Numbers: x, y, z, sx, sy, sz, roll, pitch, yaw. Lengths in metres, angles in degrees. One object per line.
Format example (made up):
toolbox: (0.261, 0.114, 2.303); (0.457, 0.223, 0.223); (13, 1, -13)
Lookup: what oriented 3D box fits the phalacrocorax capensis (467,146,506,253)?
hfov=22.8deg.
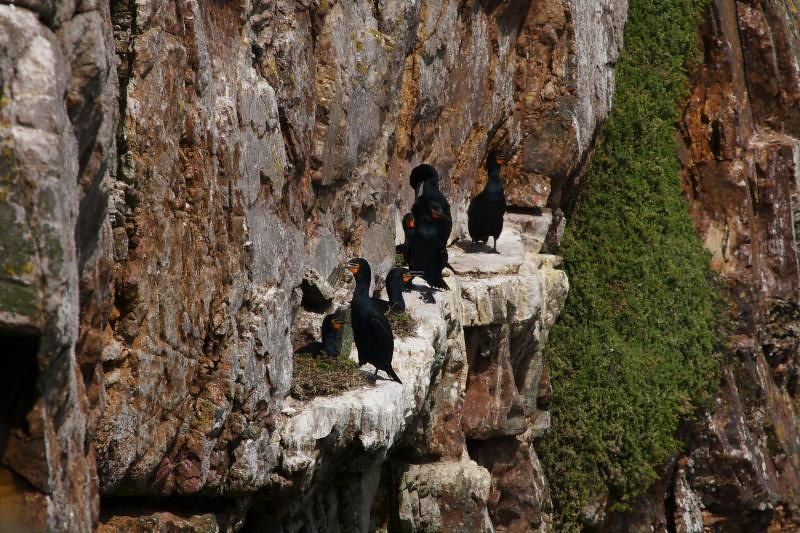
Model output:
phalacrocorax capensis: (1.563, -1.154, 35.623); (0.617, 1.788, 0.908); (4, 6, 1)
